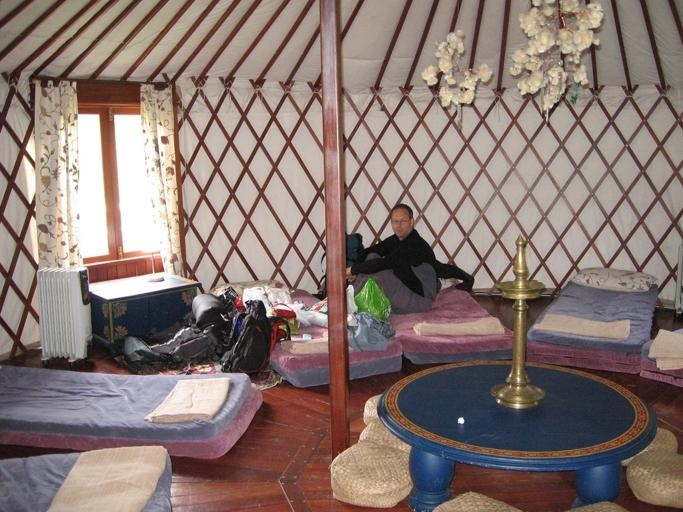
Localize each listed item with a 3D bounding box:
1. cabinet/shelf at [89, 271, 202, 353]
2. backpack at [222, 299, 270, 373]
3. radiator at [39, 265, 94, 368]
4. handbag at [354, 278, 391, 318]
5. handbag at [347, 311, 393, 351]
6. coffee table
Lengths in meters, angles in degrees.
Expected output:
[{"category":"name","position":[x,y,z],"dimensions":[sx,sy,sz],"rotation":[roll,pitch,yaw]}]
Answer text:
[{"category":"cabinet/shelf","position":[-1.610,0.313,4.578],"dimensions":[0.637,0.355,0.485],"rotation":[-10,15,-43]},{"category":"backpack","position":[-0.583,0.532,3.898],"dimensions":[0.163,0.442,0.298],"rotation":[9,9,-35]},{"category":"radiator","position":[-1.924,0.416,4.148],"dimensions":[0.342,0.649,0.188],"rotation":[-5,8,-20]},{"category":"handbag","position":[0.240,0.283,4.284],"dimensions":[0.243,0.253,0.253],"rotation":[2,10,23]},{"category":"handbag","position":[0.195,0.503,3.930],"dimensions":[0.288,0.217,0.210],"rotation":[-2,8,5]},{"category":"coffee table","position":[0.703,0.651,2.478],"dimensions":[1.101,0.215,0.688],"rotation":[-2,8,4]}]
